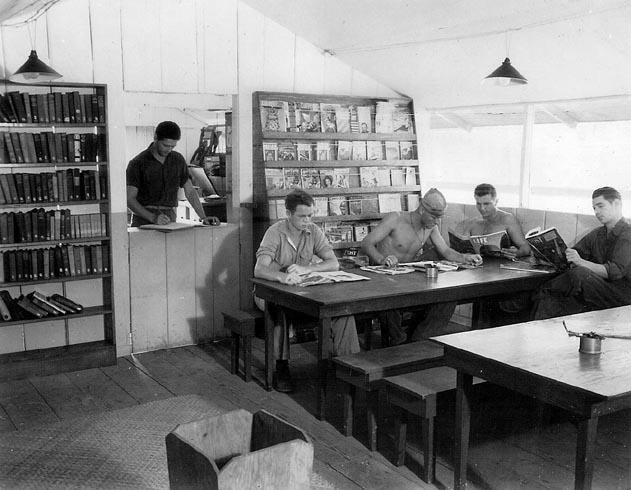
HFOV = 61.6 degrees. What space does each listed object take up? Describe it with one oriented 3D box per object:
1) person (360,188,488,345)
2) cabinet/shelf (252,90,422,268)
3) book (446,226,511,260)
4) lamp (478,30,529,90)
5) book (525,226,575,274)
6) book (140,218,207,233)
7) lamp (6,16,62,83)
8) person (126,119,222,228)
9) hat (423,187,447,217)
[{"bbox_3d":[0.789,0.175,4.094,0.922,1.179,0.706,4,9,-5],"label":"person"},{"bbox_3d":[0.222,-0.516,4.212,1.528,1.472,0.528,-1,0,-9],"label":"cabinet/shelf"},{"bbox_3d":[1.249,-0.027,4.029,0.302,0.109,0.221,-16,-19,2],"label":"book"},{"bbox_3d":[0.975,-0.944,2.678,0.219,0.237,0.223,6,13,35],"label":"lamp"},{"bbox_3d":[1.439,0.011,3.275,0.106,0.287,0.218,-51,7,-31],"label":"book"},{"bbox_3d":[-1.213,-0.164,4.630,0.333,0.088,0.543,4,10,34],"label":"book"},{"bbox_3d":[-1.939,-1.341,3.659,0.316,0.283,0.321,11,27,12],"label":"lamp"},{"bbox_3d":[-1.310,-0.634,4.639,0.696,0.887,0.262,-7,9,-33],"label":"person"},{"bbox_3d":[0.851,-0.313,3.783,0.147,0.201,0.085,-23,-4,13],"label":"hat"}]
